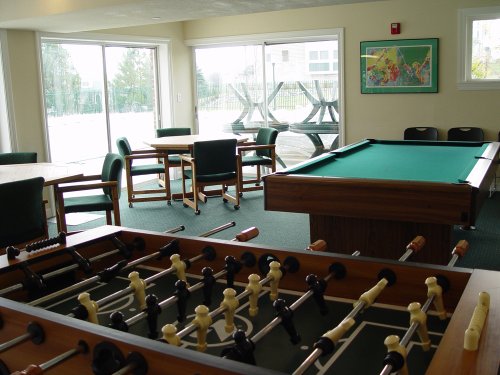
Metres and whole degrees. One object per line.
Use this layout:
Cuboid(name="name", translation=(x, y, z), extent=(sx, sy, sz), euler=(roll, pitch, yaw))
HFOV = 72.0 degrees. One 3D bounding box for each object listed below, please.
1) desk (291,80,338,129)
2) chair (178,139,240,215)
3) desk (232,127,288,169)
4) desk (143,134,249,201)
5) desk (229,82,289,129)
Cuboid(name="desk", translation=(1.416, -1.620, 6.633), extent=(0.995, 0.831, 1.048), euler=(-5, 4, 0))
Cuboid(name="chair", translation=(-0.601, -0.217, 5.219), extent=(0.802, 1.051, 0.907), euler=(-11, 17, -32))
Cuboid(name="desk", translation=(0.113, -0.707, 6.018), extent=(0.705, 0.956, 0.665), euler=(-4, 9, -27))
Cuboid(name="desk", translation=(-0.635, -0.217, 5.275), extent=(0.802, 1.032, 0.887), euler=(-5, 12, -19))
Cuboid(name="desk", translation=(0.177, -1.545, 7.061), extent=(1.038, 0.731, 1.023), euler=(-7, 11, -36))
